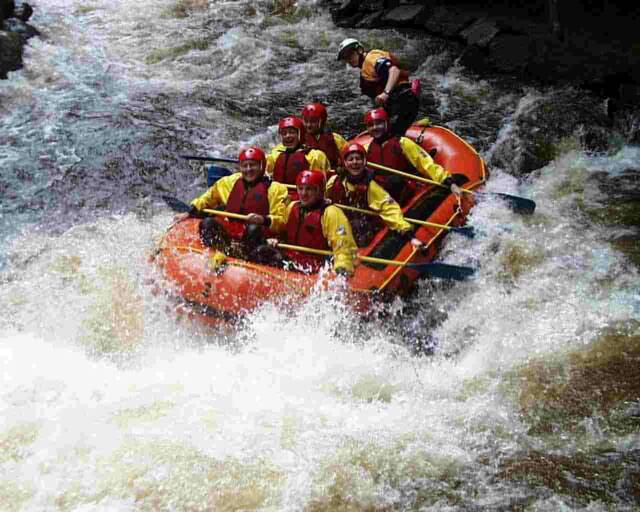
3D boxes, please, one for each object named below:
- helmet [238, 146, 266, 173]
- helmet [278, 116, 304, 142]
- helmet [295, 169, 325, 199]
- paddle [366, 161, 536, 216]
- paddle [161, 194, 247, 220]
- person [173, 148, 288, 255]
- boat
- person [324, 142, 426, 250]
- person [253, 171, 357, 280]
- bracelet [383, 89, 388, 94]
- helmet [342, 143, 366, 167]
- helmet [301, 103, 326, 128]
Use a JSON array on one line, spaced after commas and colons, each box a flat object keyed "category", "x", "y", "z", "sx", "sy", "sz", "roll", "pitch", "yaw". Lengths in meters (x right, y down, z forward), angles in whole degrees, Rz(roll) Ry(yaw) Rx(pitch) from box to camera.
[{"category": "helmet", "x": -0.808, "y": -1.144, "z": 8.815, "sx": 0.231, "sy": 0.325, "sz": 0.287, "roll": 1, "pitch": 37, "yaw": 6}, {"category": "helmet", "x": -0.383, "y": -1.592, "z": 9.594, "sx": 0.255, "sy": 0.310, "sz": 0.373, "roll": 0, "pitch": 20, "yaw": 9}, {"category": "helmet", "x": -0.118, "y": -0.804, "z": 8.482, "sx": 0.229, "sy": 0.269, "sz": 0.320, "roll": 8, "pitch": 16, "yaw": 23}, {"category": "paddle", "x": 1.566, "y": -0.826, "z": 9.503, "sx": 2.007, "sy": 0.258, "sz": 0.124, "roll": 17, "pitch": 41, "yaw": -7}, {"category": "paddle", "x": -1.391, "y": -0.575, "z": 9.105, "sx": 1.195, "sy": 0.224, "sz": 0.150, "roll": 11, "pitch": 52, "yaw": 46}, {"category": "person", "x": -0.980, "y": -0.490, "z": 8.717, "sx": 0.989, "sy": 1.594, "sz": 0.875, "roll": 3, "pitch": 7, "yaw": -33}, {"category": "boat", "x": 0.540, "y": -0.282, "z": 8.907, "sx": 2.198, "sy": 0.736, "sz": 3.555, "roll": 31, "pitch": 51, "yaw": 20}, {"category": "person", "x": 0.671, "y": -0.671, "z": 9.037, "sx": 0.561, "sy": 1.145, "sz": 1.397, "roll": -10, "pitch": 92, "yaw": -25}, {"category": "person", "x": -0.180, "y": -0.321, "z": 8.512, "sx": 1.162, "sy": 1.235, "sz": 0.704, "roll": 12, "pitch": 23, "yaw": 24}, {"category": "bracelet", "x": 0.845, "y": -2.132, "z": 9.837, "sx": 0.051, "sy": 0.019, "sz": 0.096, "roll": 2, "pitch": 28, "yaw": 9}, {"category": "helmet", "x": 0.383, "y": -1.205, "z": 8.972, "sx": 0.182, "sy": 0.245, "sz": 0.278, "roll": 2, "pitch": 85, "yaw": 2}, {"category": "helmet", "x": -0.088, "y": -1.821, "z": 9.998, "sx": 0.225, "sy": 0.329, "sz": 0.258, "roll": 6, "pitch": 46, "yaw": 7}]
